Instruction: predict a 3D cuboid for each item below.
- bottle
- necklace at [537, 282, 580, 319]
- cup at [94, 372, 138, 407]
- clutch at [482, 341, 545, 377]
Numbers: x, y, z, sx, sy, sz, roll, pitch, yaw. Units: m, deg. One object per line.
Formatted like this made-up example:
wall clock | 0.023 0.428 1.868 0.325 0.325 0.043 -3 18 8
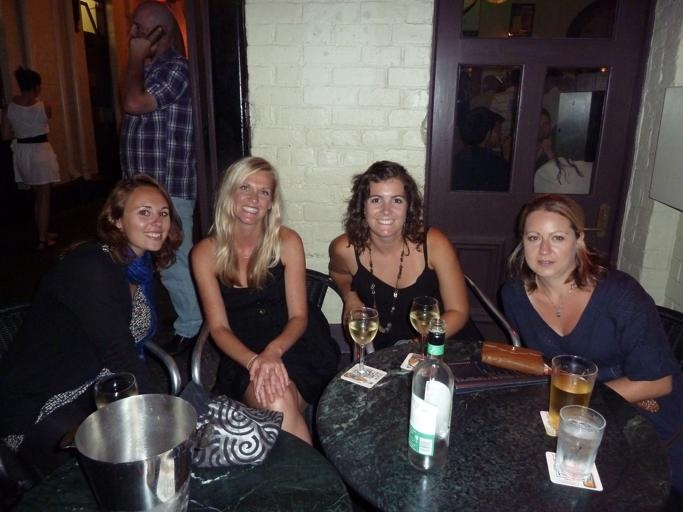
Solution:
bottle | 0.284 0.406 1.516 0.133 0.408 0.302 4 18 14
necklace | 0.943 0.197 2.104 0.038 0.155 0.153 -9 0 -45
cup | -0.712 0.413 1.568 0.124 0.121 0.116 4 16 -1
clutch | 0.653 0.372 1.835 0.154 0.047 0.125 13 7 10
